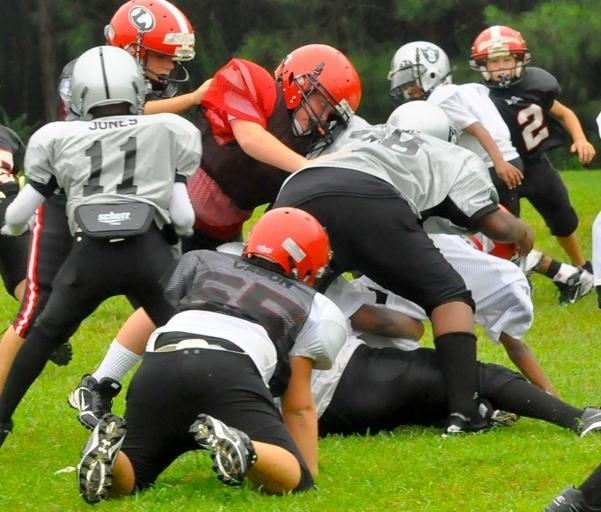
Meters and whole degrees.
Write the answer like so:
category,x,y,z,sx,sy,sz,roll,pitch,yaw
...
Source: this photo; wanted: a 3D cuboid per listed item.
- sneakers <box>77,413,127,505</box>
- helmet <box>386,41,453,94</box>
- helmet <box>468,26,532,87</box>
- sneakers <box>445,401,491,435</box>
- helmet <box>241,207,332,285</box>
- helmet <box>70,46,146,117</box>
category,x,y,z,sx,sy,sz,roll,pitch,yaw
sneakers,-0.687,0.705,2.708,0.135,0.331,0.151,18,-12,1
helmet,0.977,-1.580,6.303,0.531,0.421,0.408,-5,-4,-1
helmet,1.708,-1.751,6.550,0.502,0.481,0.551,-9,14,13
sneakers,0.783,0.754,3.476,0.201,0.087,0.127,-18,20,-32
helmet,-0.034,-0.077,3.302,0.366,0.301,0.278,30,-12,-36
helmet,-0.945,-0.862,3.811,0.309,0.331,0.395,-1,48,-4
